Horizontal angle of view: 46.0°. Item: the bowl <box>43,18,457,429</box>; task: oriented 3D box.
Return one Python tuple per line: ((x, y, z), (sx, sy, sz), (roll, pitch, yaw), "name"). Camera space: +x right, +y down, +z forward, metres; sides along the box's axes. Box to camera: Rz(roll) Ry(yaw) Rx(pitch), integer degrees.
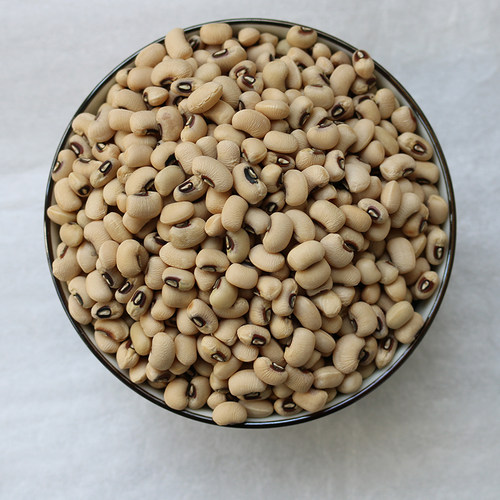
((0.010, -0.073, 1.355), (0.949, 0.737, 0.455), (2, 7, 2), "bowl")
